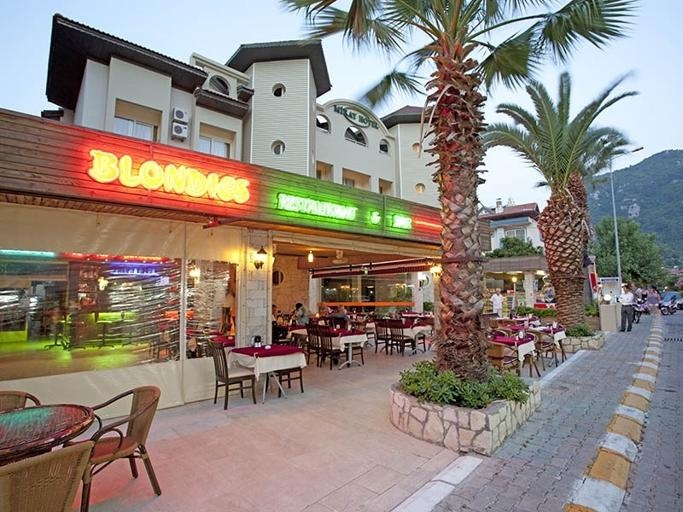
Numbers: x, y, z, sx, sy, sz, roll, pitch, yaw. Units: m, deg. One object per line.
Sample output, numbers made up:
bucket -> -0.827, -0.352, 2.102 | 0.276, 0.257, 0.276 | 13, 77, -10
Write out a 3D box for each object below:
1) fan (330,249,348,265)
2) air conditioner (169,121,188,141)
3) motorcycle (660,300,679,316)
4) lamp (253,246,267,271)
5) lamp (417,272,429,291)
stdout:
fan -> -0.024, -0.002, 16.133 | 0.453, 0.596, 0.596 | 2, -6, -11
air conditioner -> -4.987, -3.833, 12.731 | 0.288, 0.493, 0.528 | -14, -14, 35
motorcycle -> 19.785, 3.135, 25.462 | 1.088, 0.597, 1.030 | 2, -4, -19
lamp -> -1.854, 0.060, 9.668 | 0.327, 0.504, 0.172 | -3, 4, -42
lamp -> 4.515, 1.354, 22.832 | 0.401, 1.071, 2.359 | 0, 3, 19
